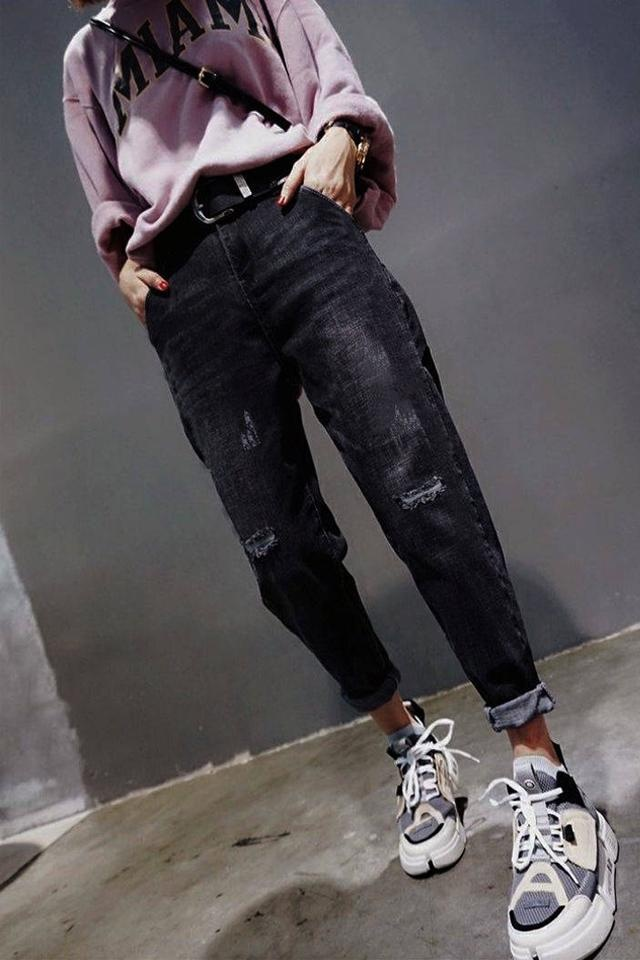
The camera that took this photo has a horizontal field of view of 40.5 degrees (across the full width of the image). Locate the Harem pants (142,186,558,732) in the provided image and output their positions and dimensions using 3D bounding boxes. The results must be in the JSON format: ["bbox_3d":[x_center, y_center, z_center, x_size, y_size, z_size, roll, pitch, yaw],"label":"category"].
[{"bbox_3d":[0.021,-0.040,1.312,0.397,0.823,0.269,-23,8,42],"label":"Harem pants"}]

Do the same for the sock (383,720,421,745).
[{"bbox_3d":[0.133,0.408,1.422,0.024,0.027,0.070,-34,-14,27],"label":"sock"}]
